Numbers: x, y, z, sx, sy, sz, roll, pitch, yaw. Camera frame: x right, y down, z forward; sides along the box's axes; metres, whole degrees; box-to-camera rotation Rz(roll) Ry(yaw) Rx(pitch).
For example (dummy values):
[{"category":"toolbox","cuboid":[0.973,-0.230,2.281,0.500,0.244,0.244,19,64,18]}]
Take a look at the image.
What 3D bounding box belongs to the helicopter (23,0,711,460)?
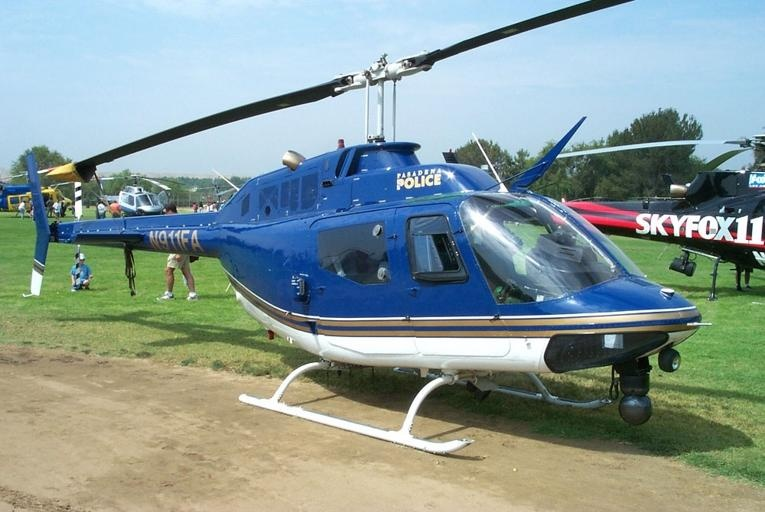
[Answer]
[{"category":"helicopter","cuboid":[0.245,0.012,11.130,8.915,2.776,7.600,2,3,39]}]
